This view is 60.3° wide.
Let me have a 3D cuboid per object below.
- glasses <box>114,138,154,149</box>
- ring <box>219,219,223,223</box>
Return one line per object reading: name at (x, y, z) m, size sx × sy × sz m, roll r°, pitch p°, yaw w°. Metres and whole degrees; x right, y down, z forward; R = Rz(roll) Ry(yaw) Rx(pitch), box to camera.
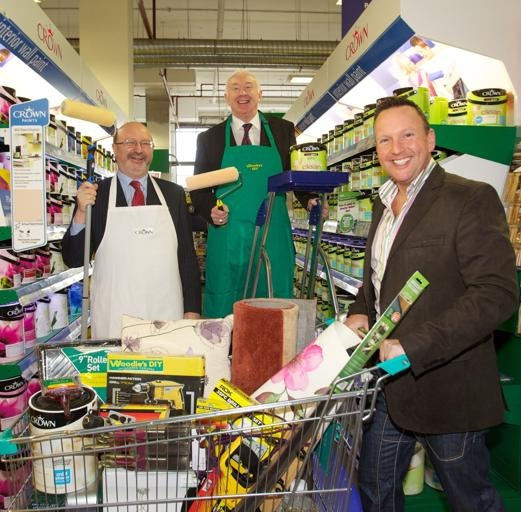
glasses at (-0.678, -0.587, 2.365) m, size 0.197 × 0.060 × 0.093 m, roll 2°, pitch 1°, yaw -13°
ring at (-0.223, -0.188, 2.453) m, size 0.015 × 0.019 × 0.017 m, roll 3°, pitch 8°, yaw 11°
